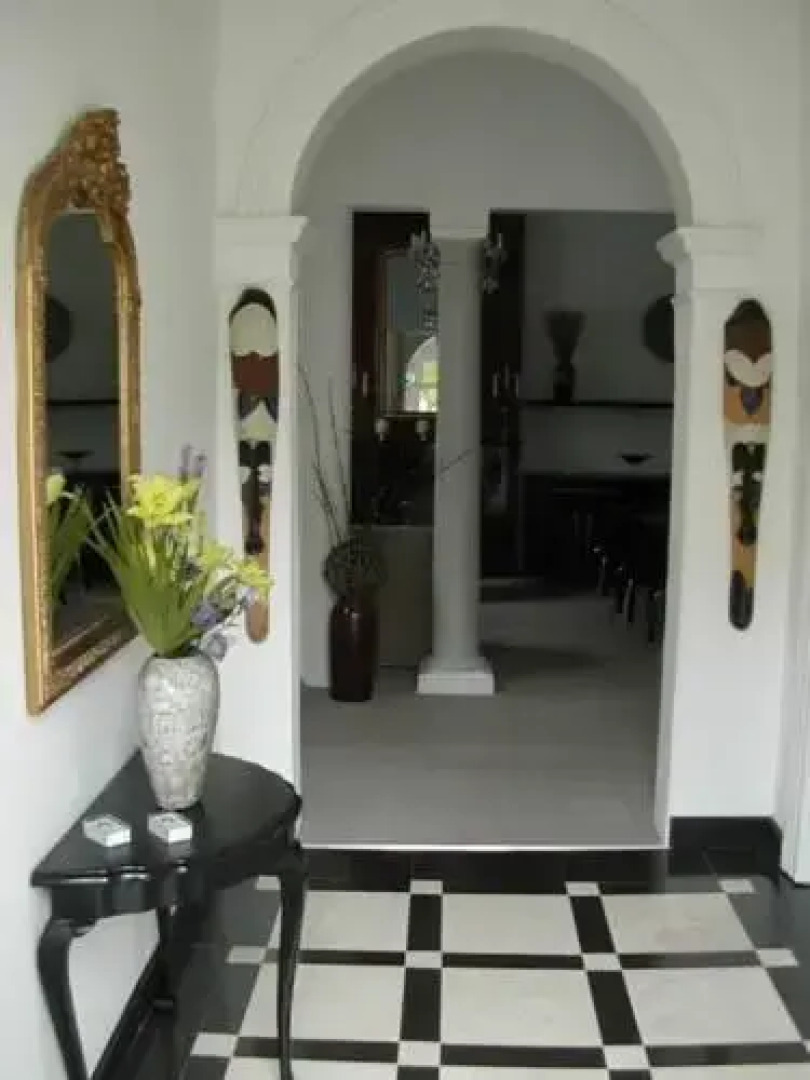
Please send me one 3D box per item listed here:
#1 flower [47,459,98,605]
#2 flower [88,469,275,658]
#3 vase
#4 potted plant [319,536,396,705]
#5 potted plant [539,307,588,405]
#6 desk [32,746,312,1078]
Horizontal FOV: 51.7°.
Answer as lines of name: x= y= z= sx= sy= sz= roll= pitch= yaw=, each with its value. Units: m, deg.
flower: x=-0.634 y=-0.006 z=1.605 sx=0.053 sy=0.250 sz=0.339 roll=0 pitch=4 yaw=-16
flower: x=-0.500 y=0.058 z=1.699 sx=0.250 sy=0.381 sz=0.335 roll=9 pitch=5 yaw=23
vase: x=-0.461 y=0.367 z=1.699 sx=0.155 sy=0.310 sz=0.172 roll=-1 pitch=11 yaw=-18
potted plant: x=-0.337 y=0.471 z=5.239 sx=0.366 sy=1.075 sz=0.216 roll=0 pitch=3 yaw=-7
potted plant: x=1.792 y=-2.100 z=9.570 sx=0.467 sy=1.096 sz=0.315 roll=1 pitch=3 yaw=-1
desk: x=-0.393 y=0.537 z=1.787 sx=0.455 sy=0.848 sz=0.796 roll=0 pitch=8 yaw=-4
